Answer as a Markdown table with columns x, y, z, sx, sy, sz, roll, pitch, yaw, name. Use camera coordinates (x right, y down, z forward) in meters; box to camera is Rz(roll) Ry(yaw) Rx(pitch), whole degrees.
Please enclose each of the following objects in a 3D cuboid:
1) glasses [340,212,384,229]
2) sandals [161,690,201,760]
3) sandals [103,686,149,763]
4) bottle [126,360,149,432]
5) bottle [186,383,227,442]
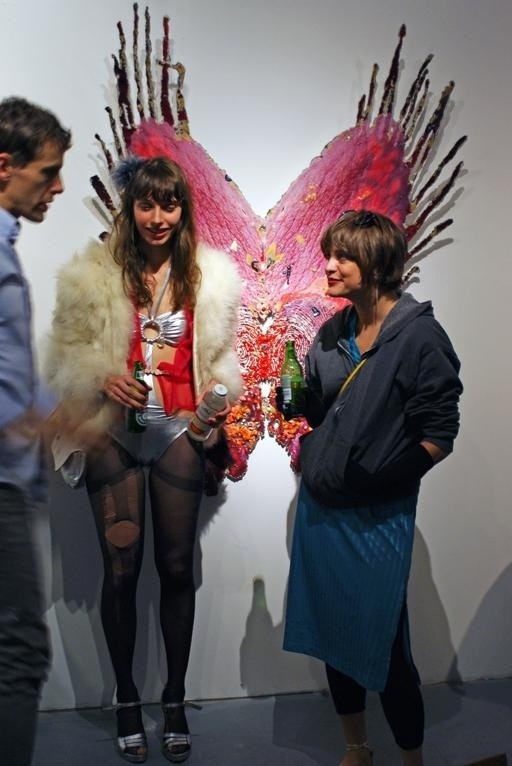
| x | y | z | sx | sy | sz | roll | pitch | yaw | name |
| --- | --- | --- | --- | --- | --- | --- | --- | --- | --- |
| 0.254 | -0.392 | 1.648 | 0.073 | 0.019 | 0.067 | 4 | -20 | 1 | glasses |
| -0.203 | 0.906 | 1.772 | 0.060 | 0.057 | 0.157 | 1 | 10 | -7 | sandals |
| -0.330 | 0.891 | 1.769 | 0.064 | 0.073 | 0.192 | -1 | 14 | -12 | sandals |
| -0.300 | 0.037 | 1.726 | 0.049 | 0.182 | 0.081 | 0 | 1 | -10 | bottle |
| -0.119 | 0.082 | 1.757 | 0.095 | 0.157 | 0.196 | 0 | 1 | -16 | bottle |
